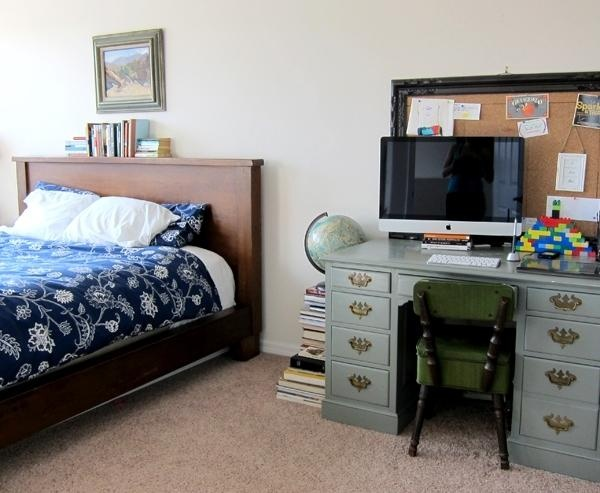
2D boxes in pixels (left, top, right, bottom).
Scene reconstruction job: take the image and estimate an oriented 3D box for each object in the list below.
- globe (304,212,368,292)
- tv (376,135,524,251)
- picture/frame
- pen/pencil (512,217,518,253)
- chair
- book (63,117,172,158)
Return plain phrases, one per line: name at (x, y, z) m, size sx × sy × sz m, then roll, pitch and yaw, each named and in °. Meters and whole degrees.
globe at (0.153, 0.003, 2.667) m, size 0.316 × 0.338 × 0.279 m, roll 2°, pitch 8°, yaw 37°
tv at (0.754, -0.273, 2.420) m, size 0.557 × 0.413 × 0.161 m, roll 2°, pitch 4°, yaw 18°
picture/frame at (-1.191, -1.253, 3.470) m, size 0.623 × 0.563 × 0.043 m, roll 4°, pitch 10°, yaw 27°
pen/pencil at (1.008, -0.061, 2.318) m, size 0.021 × 0.169 × 0.022 m, roll 10°, pitch -15°, yaw 16°
chair at (0.731, 0.481, 2.219) m, size 0.443 × 0.791 × 0.567 m, roll 4°, pitch 12°, yaw 21°
book at (-1.329, -0.779, 3.559) m, size 0.942 × 0.267 × 0.216 m, roll 7°, pitch 14°, yaw 32°
